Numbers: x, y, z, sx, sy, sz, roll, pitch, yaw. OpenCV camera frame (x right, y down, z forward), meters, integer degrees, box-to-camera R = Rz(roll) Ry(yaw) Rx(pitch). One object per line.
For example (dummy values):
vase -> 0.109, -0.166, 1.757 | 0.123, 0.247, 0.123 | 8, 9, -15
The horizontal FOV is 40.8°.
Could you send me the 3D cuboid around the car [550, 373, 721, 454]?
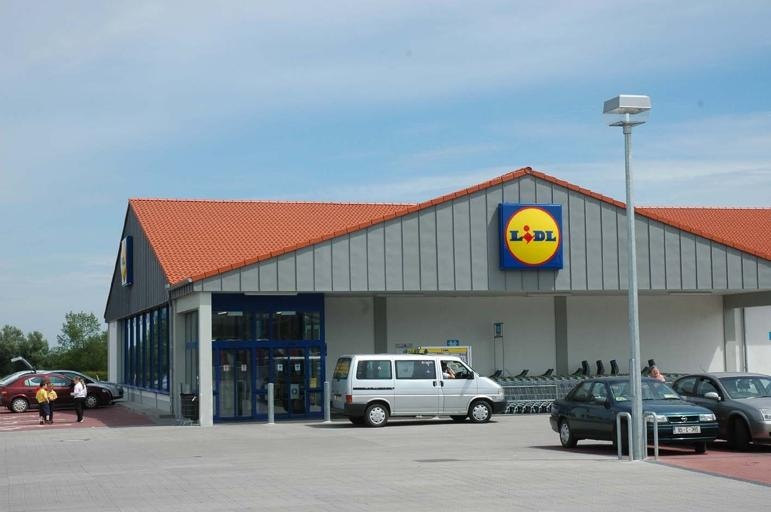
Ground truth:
car -> 6.041, 4.188, 27.652 | 1.965, 1.251, 3.662 | 3, -10, -24
